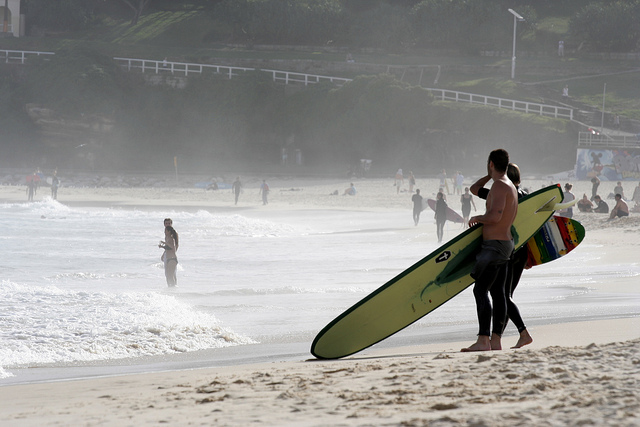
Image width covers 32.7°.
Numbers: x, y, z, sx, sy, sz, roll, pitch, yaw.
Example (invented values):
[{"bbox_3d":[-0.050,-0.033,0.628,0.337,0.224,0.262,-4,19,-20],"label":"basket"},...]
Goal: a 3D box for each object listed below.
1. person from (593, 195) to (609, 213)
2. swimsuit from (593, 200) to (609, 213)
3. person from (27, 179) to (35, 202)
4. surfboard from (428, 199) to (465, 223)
[{"bbox_3d":[22.117,-0.880,86.235,1.135,1.280,1.196,1,13,12],"label":"person"},{"bbox_3d":[22.046,-0.610,85.856,0.876,0.850,0.708,-3,-3,39],"label":"swimsuit"},{"bbox_3d":[-25.783,-2.150,97.775,0.665,1.858,0.960,-5,13,-14],"label":"person"},{"bbox_3d":[9.991,-0.243,86.821,0.582,1.174,4.216,19,-6,40],"label":"surfboard"}]
